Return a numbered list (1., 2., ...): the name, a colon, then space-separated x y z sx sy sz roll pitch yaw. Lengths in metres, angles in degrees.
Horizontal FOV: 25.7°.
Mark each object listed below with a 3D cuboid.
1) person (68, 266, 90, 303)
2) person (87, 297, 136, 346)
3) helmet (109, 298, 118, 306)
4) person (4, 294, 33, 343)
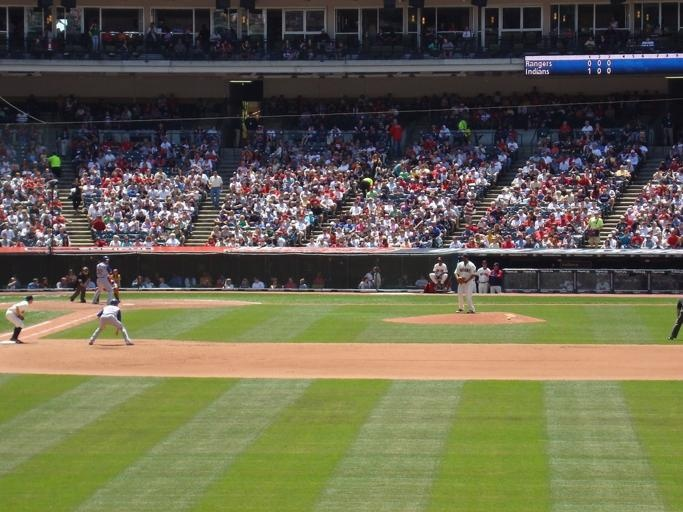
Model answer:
1. person: -10.380 1.116 60.079 0.525 1.248 0.599 9 6 20
2. person: -8.293 2.417 53.806 1.450 0.868 1.558 -1 49 3
3. helmet: -8.044 1.617 52.135 0.311 0.268 0.471 5 0 0
4. person: -11.565 2.330 53.695 0.951 1.677 0.779 4 35 -25
